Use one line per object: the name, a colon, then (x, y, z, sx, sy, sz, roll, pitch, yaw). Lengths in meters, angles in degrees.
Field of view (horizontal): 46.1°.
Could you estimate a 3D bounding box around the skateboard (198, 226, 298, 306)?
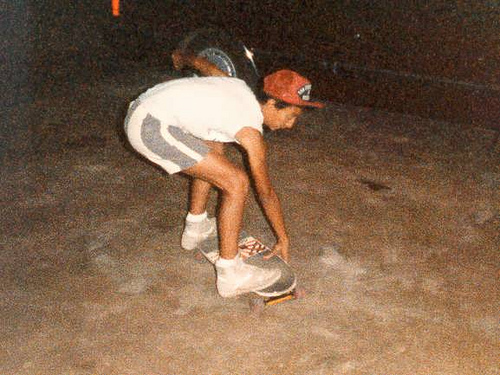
skateboard: (-0.060, 0.583, 5.259, 0.384, 0.168, 1.230, -20, 38, -32)
